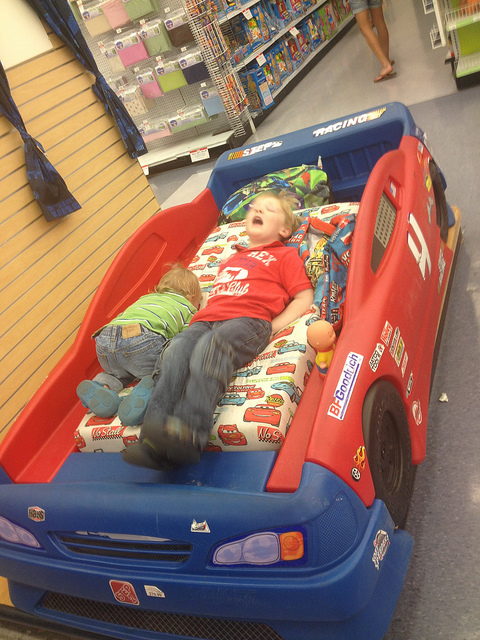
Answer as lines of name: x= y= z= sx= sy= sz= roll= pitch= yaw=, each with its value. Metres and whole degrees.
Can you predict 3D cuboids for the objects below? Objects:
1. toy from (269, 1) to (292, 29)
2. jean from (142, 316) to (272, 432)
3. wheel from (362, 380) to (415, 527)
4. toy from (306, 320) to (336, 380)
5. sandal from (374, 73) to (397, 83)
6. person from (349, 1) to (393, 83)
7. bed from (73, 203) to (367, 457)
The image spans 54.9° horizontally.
toy: x=0.560 y=-4.134 z=6.255 sx=0.147 sy=0.420 sz=0.307 roll=-9 pitch=9 yaw=40
jean: x=-0.090 y=0.153 z=1.230 sx=0.196 sy=0.109 sz=0.358 roll=-2 pitch=31 yaw=24
wheel: x=0.326 y=0.303 z=1.127 sx=0.077 sy=0.301 sz=0.296 roll=-11 pitch=70 yaw=27
toy: x=0.205 y=0.078 z=1.161 sx=0.072 sy=0.145 sz=0.087 roll=-4 pitch=42 yaw=18
sandal: x=1.629 y=-2.667 z=5.075 sx=0.168 sy=0.045 sz=0.062 roll=-6 pitch=31 yaw=49
person: x=1.486 y=-3.079 z=5.026 sx=0.295 sy=0.838 sz=0.657 roll=-16 pitch=31 yaw=25
bed: x=0.155 y=-0.223 z=1.451 sx=0.669 sy=0.143 sz=1.279 roll=-10 pitch=34 yaw=39
